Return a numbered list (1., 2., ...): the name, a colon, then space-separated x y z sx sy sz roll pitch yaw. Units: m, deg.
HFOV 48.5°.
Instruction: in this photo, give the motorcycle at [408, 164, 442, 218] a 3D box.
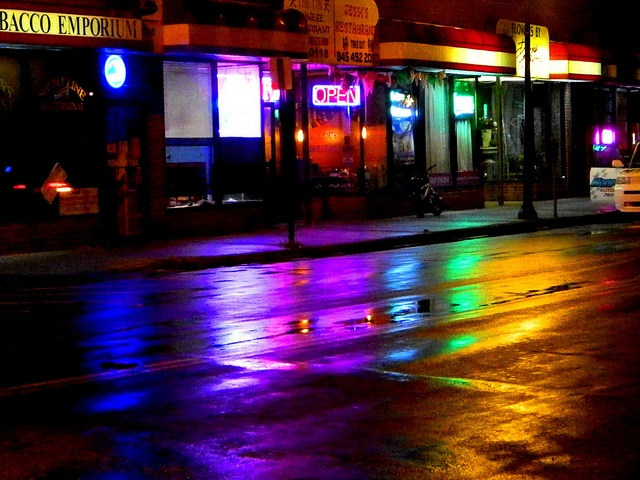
1. motorcycle: 3.705 -1.577 26.156 0.998 1.132 1.800 -2 7 30
